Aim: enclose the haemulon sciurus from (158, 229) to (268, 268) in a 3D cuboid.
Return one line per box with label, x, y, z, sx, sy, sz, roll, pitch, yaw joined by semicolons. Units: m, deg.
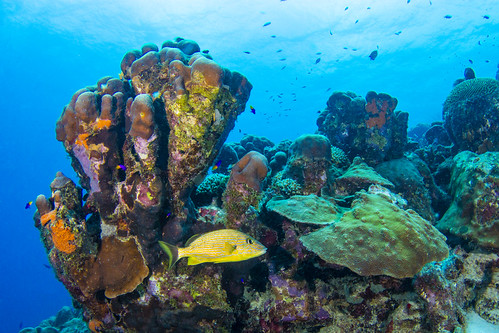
haemulon sciurus;-4.195;8.703;53.739;13.557;5.558;3.207;-3;0;-3
